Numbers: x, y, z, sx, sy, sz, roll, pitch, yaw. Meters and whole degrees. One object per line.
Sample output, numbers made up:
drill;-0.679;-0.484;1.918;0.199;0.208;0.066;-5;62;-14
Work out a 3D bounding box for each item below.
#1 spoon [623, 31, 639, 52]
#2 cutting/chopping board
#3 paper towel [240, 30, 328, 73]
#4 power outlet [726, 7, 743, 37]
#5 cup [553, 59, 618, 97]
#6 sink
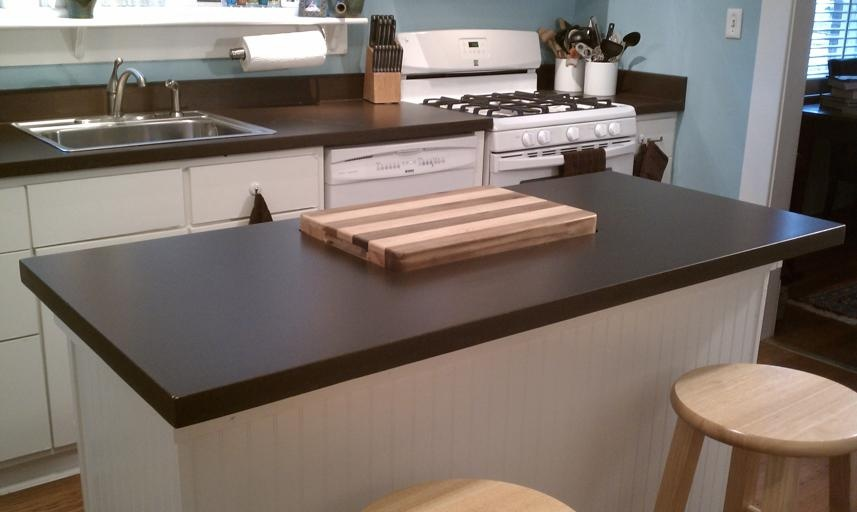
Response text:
spoon;1.240;-1.323;3.812;0.106;0.106;0.152;4;20;18
cutting/chopping board;0.058;-0.095;1.808;0.796;0.115;0.365;-9;20;-20
paper towel;-0.721;-1.020;3.068;0.412;0.176;0.140;-7;19;-14
power outlet;1.667;-1.277;3.402;0.022;0.159;0.095;-16;23;-33
cup;0.970;-1.117;3.856;0.402;0.201;0.221;12;23;32
sink;-1.299;-0.556;2.766;0.313;0.154;0.499;12;20;27
